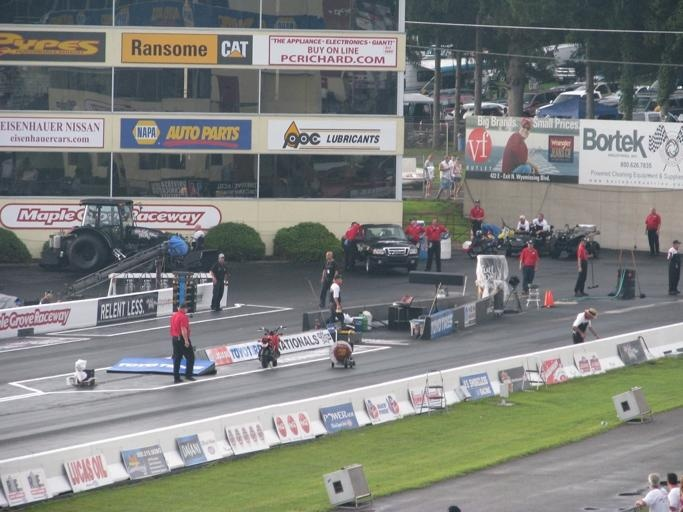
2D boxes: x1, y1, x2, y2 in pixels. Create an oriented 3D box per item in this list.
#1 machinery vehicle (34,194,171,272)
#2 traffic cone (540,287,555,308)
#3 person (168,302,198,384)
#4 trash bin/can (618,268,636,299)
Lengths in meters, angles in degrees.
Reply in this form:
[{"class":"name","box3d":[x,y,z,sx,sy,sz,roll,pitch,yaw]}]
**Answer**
[{"class":"machinery vehicle","box3d":[-10.794,-0.967,84.218,5.415,3.358,1.375,0,10,19]},{"class":"traffic cone","box3d":[8.662,1.736,79.661,0.585,0.723,0.617,0,5,5]},{"class":"person","box3d":[-5.983,3.135,70.922,0.831,2.946,0.851,-4,9,-6]},{"class":"trash bin/can","box3d":[12.097,1.091,80.750,0.834,1.212,1.252,-2,10,9]}]
